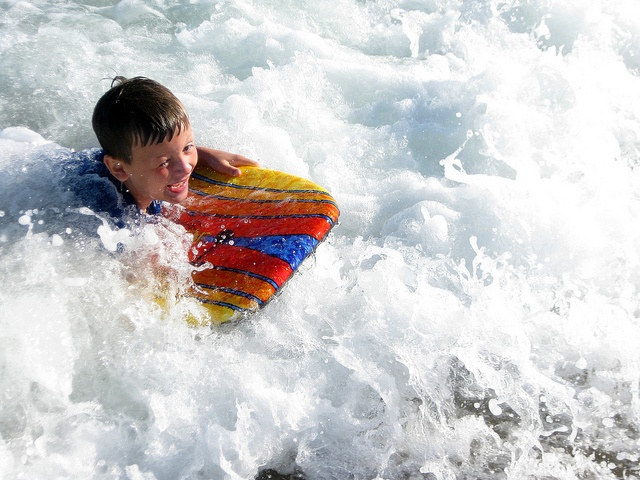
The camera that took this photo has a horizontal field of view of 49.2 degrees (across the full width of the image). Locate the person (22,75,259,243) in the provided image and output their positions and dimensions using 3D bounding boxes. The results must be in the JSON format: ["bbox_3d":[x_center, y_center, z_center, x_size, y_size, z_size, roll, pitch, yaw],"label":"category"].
[{"bbox_3d":[-1.147,-0.537,4.549,1.195,0.480,0.831,15,48,17],"label":"person"}]

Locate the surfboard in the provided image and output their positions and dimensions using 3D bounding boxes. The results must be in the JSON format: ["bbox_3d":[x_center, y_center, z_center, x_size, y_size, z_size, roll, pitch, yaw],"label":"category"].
[{"bbox_3d":[-0.505,-0.018,4.898,0.908,0.203,1.271,17,47,26],"label":"surfboard"}]
